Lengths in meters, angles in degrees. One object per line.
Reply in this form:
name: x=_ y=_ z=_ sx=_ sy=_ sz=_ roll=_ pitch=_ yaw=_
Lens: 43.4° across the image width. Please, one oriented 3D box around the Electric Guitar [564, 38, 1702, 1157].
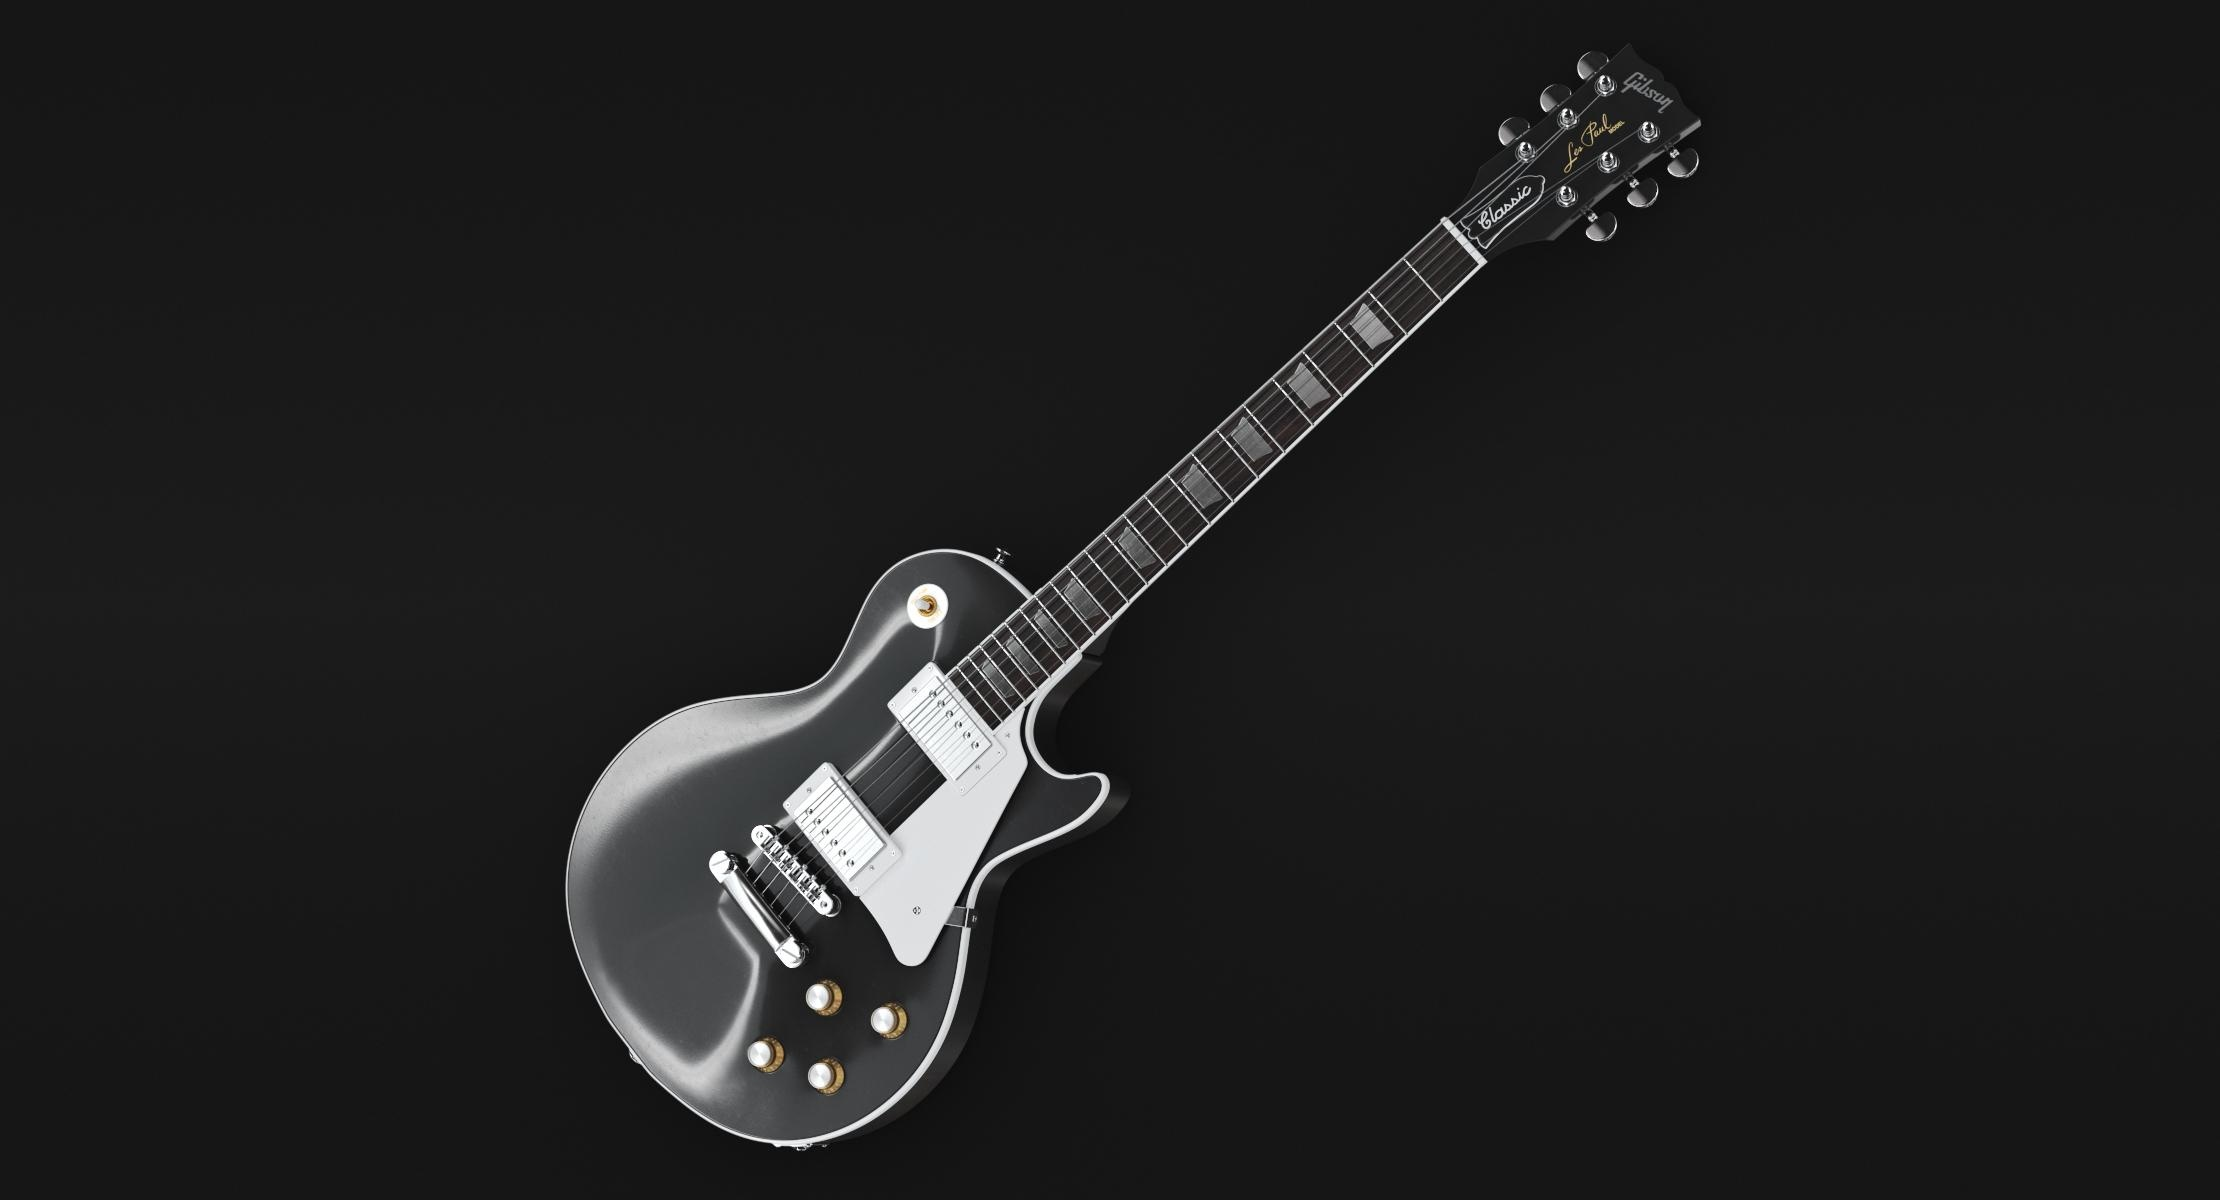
Electric Guitar: x=-0.478 y=0.467 z=7.909 sx=4.879 sy=0.587 sz=1.670 roll=-40 pitch=74 yaw=6
